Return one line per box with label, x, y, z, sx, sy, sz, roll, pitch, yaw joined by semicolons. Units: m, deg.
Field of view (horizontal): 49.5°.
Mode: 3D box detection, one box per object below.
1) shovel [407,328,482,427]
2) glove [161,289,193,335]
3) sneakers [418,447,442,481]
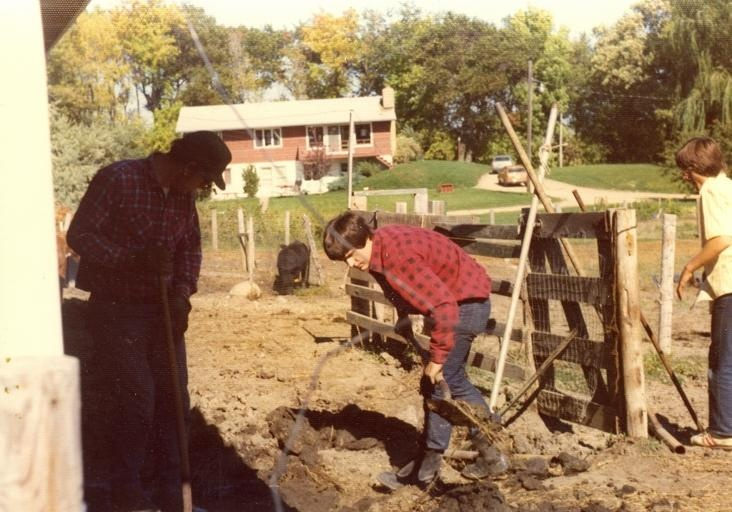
shovel;0.641;1.217;7.214;0.433;0.734;0.220;-7;-29;-44
glove;-1.626;0.457;6.804;0.247;0.368;0.123;-14;4;36
sneakers;0.585;1.932;7.300;0.184;0.323;0.075;29;1;10
